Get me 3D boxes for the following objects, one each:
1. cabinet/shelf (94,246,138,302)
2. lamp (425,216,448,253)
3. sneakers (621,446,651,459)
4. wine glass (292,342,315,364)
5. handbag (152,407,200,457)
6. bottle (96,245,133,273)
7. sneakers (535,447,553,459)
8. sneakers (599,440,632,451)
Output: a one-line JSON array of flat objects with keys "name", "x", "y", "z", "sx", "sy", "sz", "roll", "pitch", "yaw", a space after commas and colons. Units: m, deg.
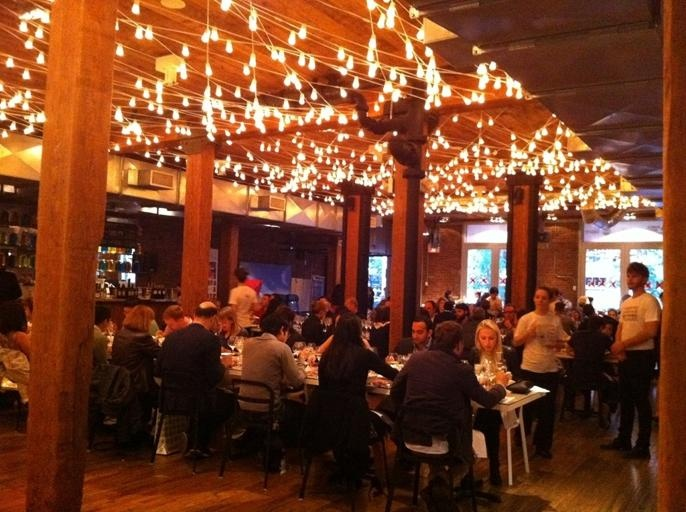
[{"name": "cabinet/shelf", "x": -4.833, "y": 0.371, "z": 12.762, "sx": 0.361, "sy": 1.146, "sz": 1.044, "roll": -3, "pitch": 5, "yaw": 15}, {"name": "lamp", "x": 3.432, "y": -0.664, "z": 21.007, "sx": 0.665, "sy": 1.115, "sz": 0.648, "roll": 12, "pitch": -17, "yaw": -22}, {"name": "sneakers", "x": 3.239, "y": 2.155, "z": 6.645, "sx": 0.334, "sy": 0.136, "sz": 0.125, "roll": 3, "pitch": -8, "yaw": 6}, {"name": "wine glass", "x": -0.433, "y": 1.104, "z": 6.871, "sx": 0.176, "sy": 0.313, "sz": 0.205, "roll": 2, "pitch": -7, "yaw": -7}, {"name": "handbag", "x": -1.747, "y": 1.875, "z": 6.448, "sx": 0.347, "sy": 0.472, "sz": 0.334, "roll": 6, "pitch": -23, "yaw": -42}, {"name": "bottle", "x": -5.074, "y": 0.054, "z": 13.316, "sx": 0.315, "sy": 0.422, "sz": 0.611, "roll": -3, "pitch": -5, "yaw": 29}, {"name": "sneakers", "x": 2.194, "y": 2.160, "z": 6.589, "sx": 0.166, "sy": 0.165, "sz": 0.081, "roll": -8, "pitch": -11, "yaw": 37}, {"name": "sneakers", "x": 3.153, "y": 2.175, "z": 6.976, "sx": 0.371, "sy": 0.147, "sz": 0.129, "roll": 1, "pitch": -5, "yaw": 23}]
